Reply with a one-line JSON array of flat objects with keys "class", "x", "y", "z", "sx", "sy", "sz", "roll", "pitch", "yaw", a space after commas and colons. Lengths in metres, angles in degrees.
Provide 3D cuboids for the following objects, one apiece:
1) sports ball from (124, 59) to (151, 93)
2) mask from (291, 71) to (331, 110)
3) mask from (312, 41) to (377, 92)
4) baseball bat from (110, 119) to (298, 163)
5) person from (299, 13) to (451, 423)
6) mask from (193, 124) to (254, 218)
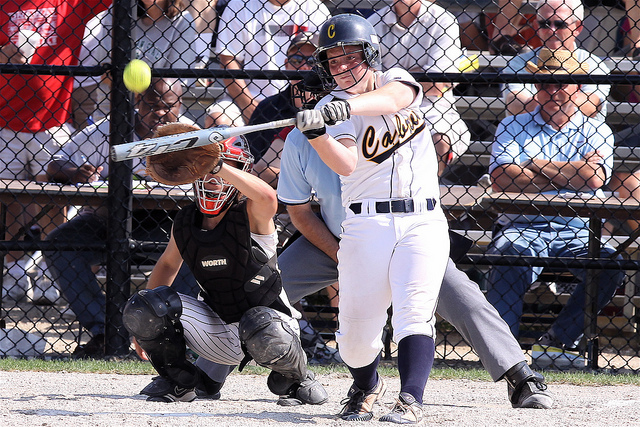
[{"class": "sports ball", "x": -1.230, "y": -0.920, "z": 6.557, "sx": 0.169, "sy": 0.210, "sz": 0.166, "roll": 1, "pitch": 8, "yaw": 0}, {"class": "mask", "x": -0.081, "y": -0.766, "z": 6.114, "sx": 0.291, "sy": 0.228, "sz": 0.371, "roll": -3, "pitch": -4, "yaw": 5}, {"class": "mask", "x": 0.133, "y": -0.872, "z": 5.718, "sx": 0.276, "sy": 0.282, "sz": 0.330, "roll": -24, "pitch": -4, "yaw": 25}, {"class": "baseball bat", "x": -0.761, "y": -0.454, "z": 6.185, "sx": 1.389, "sy": 0.140, "sz": 0.167, "roll": -11, "pitch": 25, "yaw": -15}, {"class": "person", "x": 0.331, "y": 0.046, "z": 5.719, "sx": 0.845, "sy": 2.410, "sz": 0.621, "roll": 2, "pitch": 8, "yaw": 6}, {"class": "mask", "x": -0.612, "y": -0.216, "z": 6.013, "sx": 0.440, "sy": 0.534, "sz": 0.555, "roll": 4, "pitch": 7, "yaw": 11}]
